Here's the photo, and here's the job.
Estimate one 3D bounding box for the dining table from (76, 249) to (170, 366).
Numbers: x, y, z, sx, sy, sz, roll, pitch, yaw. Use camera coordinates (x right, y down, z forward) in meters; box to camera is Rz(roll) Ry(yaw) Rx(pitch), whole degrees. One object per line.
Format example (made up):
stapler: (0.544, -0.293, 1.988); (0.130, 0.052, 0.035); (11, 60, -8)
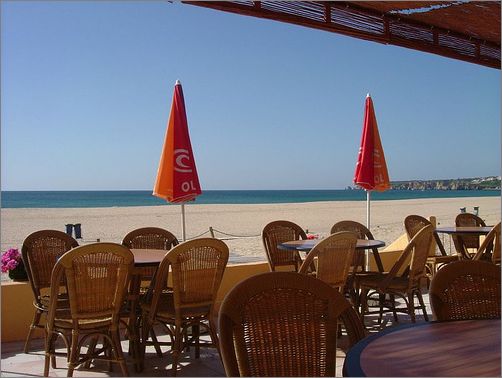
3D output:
dining table: (-0.971, 0.896, 3.492); (0.894, 0.638, 0.917); (1, -5, 0)

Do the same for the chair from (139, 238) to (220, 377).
chair: (-0.540, 0.910, 3.690); (0.613, 1.051, 0.787); (-1, 0, -23)

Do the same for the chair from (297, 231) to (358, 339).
chair: (0.631, 0.628, 3.770); (0.493, 0.802, 0.509); (-4, 6, -38)

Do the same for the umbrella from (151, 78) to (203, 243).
umbrella: (-0.732, -0.501, 4.564); (0.423, 1.491, 0.373); (-1, 0, -45)

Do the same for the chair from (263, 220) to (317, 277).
chair: (0.323, 0.611, 4.936); (0.507, 0.795, 0.537); (-1, -1, -22)
